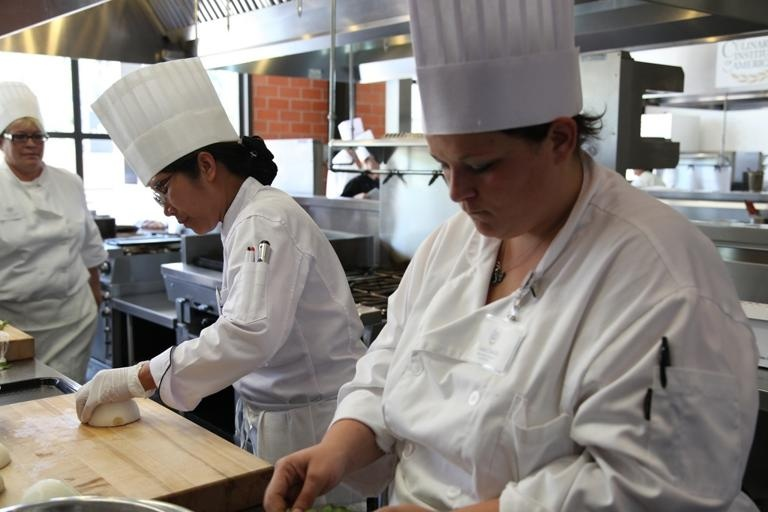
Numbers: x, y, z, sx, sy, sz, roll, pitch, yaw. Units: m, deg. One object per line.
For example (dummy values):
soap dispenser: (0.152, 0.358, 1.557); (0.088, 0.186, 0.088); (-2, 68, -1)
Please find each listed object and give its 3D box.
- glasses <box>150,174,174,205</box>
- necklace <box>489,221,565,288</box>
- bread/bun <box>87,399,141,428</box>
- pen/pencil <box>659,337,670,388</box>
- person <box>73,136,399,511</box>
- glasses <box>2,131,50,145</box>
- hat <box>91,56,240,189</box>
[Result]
glasses: (-0.724, -0.208, 1.922); (0.091, 0.027, 0.086); (-46, 18, -15)
necklace: (0.299, -0.002, 1.345); (0.089, 0.169, 0.039); (18, 1, 40)
bread/bun: (-0.748, 0.439, 1.637); (0.081, 0.048, 0.082); (-2, 4, -34)
pen/pencil: (0.509, 0.192, 1.073); (0.018, 0.087, 0.025); (5, 11, 36)
person: (-0.478, 0.115, 2.600); (1.085, 2.001, 0.877); (-2, 2, -13)
glasses: (-1.950, -0.635, 3.200); (0.219, 0.051, 0.133); (-8, 10, -34)
hat: (-0.713, -0.461, 2.064); (0.449, 0.368, 0.414); (-32, 8, -5)
